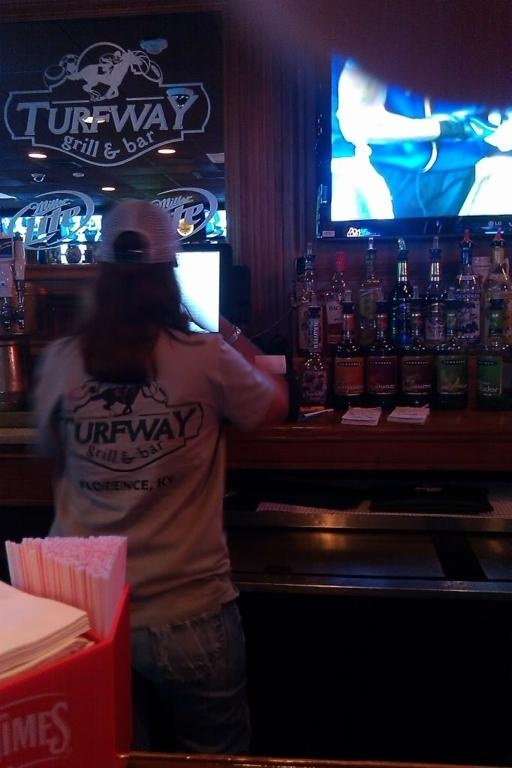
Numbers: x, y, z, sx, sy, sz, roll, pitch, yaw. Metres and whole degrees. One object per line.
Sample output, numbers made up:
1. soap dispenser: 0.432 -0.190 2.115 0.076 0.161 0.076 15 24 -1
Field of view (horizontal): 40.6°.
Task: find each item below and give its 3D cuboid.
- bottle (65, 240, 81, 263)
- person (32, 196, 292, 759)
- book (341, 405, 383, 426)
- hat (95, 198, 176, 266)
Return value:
1. bottle: -0.800 -0.580 3.017 0.056 0.071 0.040 10 29 18
2. person: -0.164 0.167 1.130 0.440 0.919 0.315 -5 10 3
3. book: 0.258 0.083 1.707 0.090 0.021 0.120 -2 10 15
4. hat: -0.194 -0.246 1.122 0.135 0.106 0.109 -8 10 -15
